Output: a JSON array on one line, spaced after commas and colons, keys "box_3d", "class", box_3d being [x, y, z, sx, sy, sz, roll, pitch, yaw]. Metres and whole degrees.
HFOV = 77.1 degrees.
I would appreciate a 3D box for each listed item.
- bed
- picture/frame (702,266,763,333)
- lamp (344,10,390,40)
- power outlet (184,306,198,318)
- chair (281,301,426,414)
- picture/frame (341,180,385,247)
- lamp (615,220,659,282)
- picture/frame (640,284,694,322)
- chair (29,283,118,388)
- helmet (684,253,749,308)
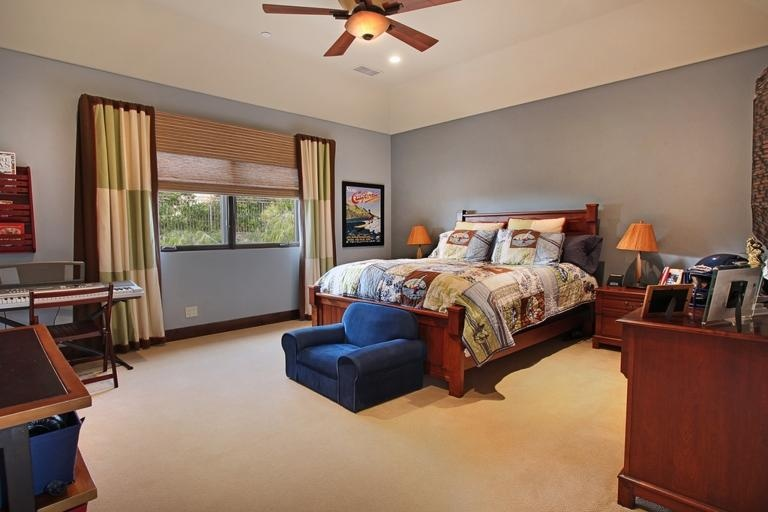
[{"box_3d": [1.086, 0.546, 5.773, 2.802, 1.455, 2.288, 0, 0, -43], "class": "bed"}, {"box_3d": [2.289, 0.291, 3.180, 0.412, 0.289, 0.078, -2, 5, -20], "class": "picture/frame"}, {"box_3d": [-0.148, -2.096, 4.397, 0.388, 0.192, 0.253, -2, 5, 0], "class": "lamp"}, {"box_3d": [-2.459, 0.710, 6.125, 0.016, 0.148, 0.159, -2, -4, 44], "class": "power outlet"}, {"box_3d": [-0.245, 0.913, 4.704, 1.118, 0.838, 0.867, 3, 7, 40], "class": "chair"}, {"box_3d": [-0.382, -0.704, 7.925, 1.083, 1.247, 0.049, -5, 8, -40], "class": "picture/frame"}, {"box_3d": [3.008, -0.042, 5.748, 0.403, 0.734, 0.468, 1, 6, 29], "class": "lamp"}, {"box_3d": [1.931, 0.309, 3.269, 0.327, 0.238, 0.136, -1, 10, -4], "class": "picture/frame"}, {"box_3d": [-2.994, 0.736, 4.615, 0.563, 0.986, 0.674, -7, 4, -36], "class": "chair"}, {"box_3d": [2.437, 0.153, 3.434, 0.450, 0.368, 0.340, 3, 1, -2], "class": "helmet"}]
